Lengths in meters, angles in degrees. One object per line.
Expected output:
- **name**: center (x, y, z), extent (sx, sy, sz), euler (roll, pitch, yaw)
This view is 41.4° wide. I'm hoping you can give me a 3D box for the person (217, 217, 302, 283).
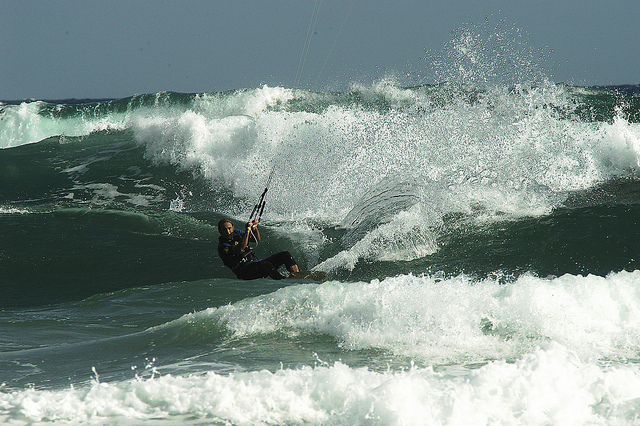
- **person**: center (-1.085, 0.695, 14.869), extent (1.478, 1.109, 1.347), euler (9, 6, 7)
